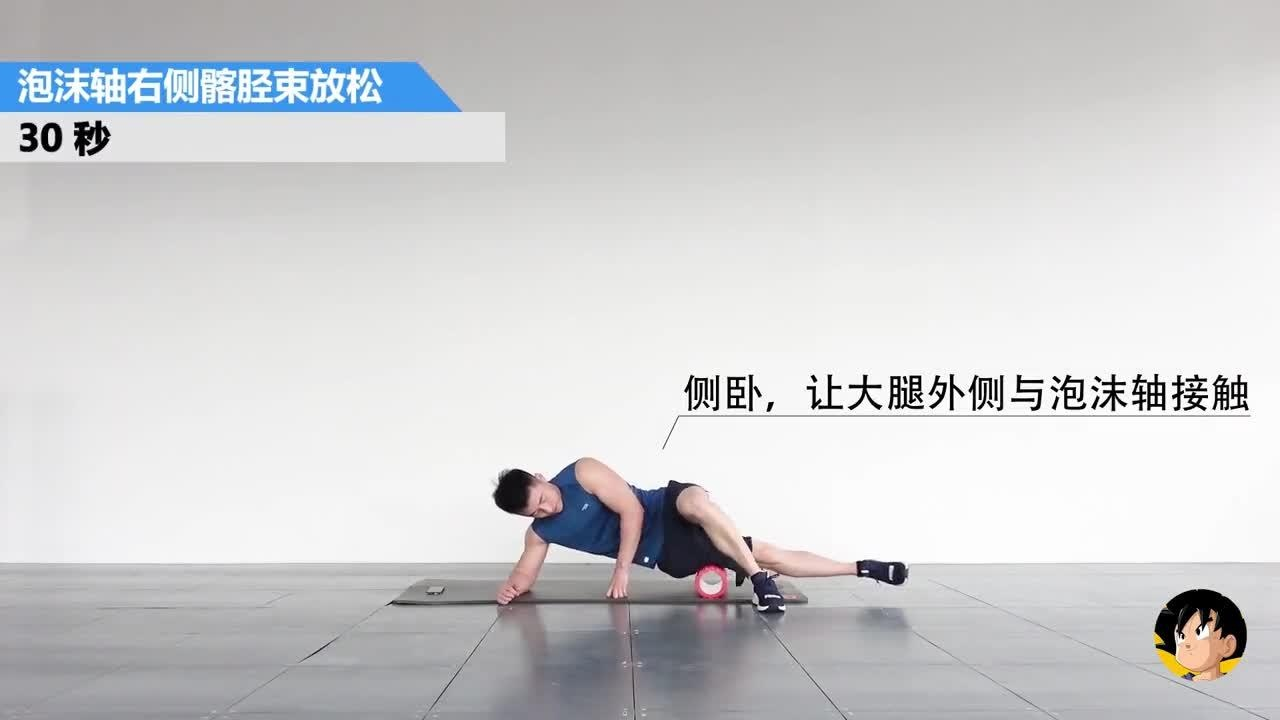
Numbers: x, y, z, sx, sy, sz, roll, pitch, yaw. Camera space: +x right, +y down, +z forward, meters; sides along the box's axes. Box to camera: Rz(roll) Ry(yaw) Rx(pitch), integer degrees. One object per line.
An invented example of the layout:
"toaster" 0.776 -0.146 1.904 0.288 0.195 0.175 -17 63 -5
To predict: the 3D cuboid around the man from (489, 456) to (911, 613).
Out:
"man" 0.443 1.262 7.267 2.951 0.889 1.185 5 -34 -2
